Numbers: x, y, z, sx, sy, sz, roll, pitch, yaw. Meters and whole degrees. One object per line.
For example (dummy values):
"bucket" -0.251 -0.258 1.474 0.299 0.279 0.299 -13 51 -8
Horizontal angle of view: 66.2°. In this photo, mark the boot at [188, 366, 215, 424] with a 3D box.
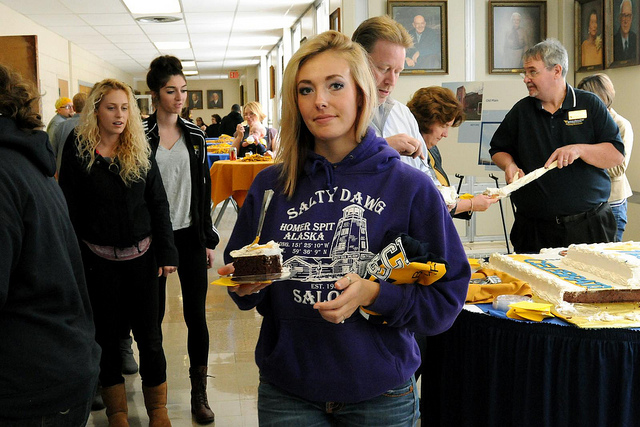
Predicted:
"boot" -0.815 1.207 3.320 0.145 0.354 0.237 -3 2 -17

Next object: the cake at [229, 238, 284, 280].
"cake" -0.238 0.170 1.768 0.156 0.091 0.152 -4 6 5

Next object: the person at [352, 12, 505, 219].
"person" 0.456 -0.472 2.540 0.741 0.925 0.539 11 19 7

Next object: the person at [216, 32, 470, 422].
"person" 0.041 0.075 1.783 0.926 1.469 0.382 -2 2 19

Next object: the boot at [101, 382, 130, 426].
"boot" -1.272 1.165 2.991 0.140 0.190 0.161 -3 2 -24

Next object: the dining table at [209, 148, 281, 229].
"dining table" -1.176 -0.401 7.006 1.226 1.070 1.193 1 5 -1

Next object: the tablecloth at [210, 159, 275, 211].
"tablecloth" -1.056 -0.421 6.928 0.885 0.486 0.943 3 12 31

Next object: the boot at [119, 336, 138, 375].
"boot" -1.559 1.126 3.896 0.121 0.223 0.335 -6 14 -32

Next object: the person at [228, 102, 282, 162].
"person" -1.161 -0.975 8.239 0.717 1.642 0.709 5 6 -9

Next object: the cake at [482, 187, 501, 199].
"cake" 1.119 -0.132 3.188 0.083 0.041 0.081 -8 12 -42

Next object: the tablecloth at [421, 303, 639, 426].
"tablecloth" 0.985 0.740 2.292 0.751 0.461 0.739 0 2 14
